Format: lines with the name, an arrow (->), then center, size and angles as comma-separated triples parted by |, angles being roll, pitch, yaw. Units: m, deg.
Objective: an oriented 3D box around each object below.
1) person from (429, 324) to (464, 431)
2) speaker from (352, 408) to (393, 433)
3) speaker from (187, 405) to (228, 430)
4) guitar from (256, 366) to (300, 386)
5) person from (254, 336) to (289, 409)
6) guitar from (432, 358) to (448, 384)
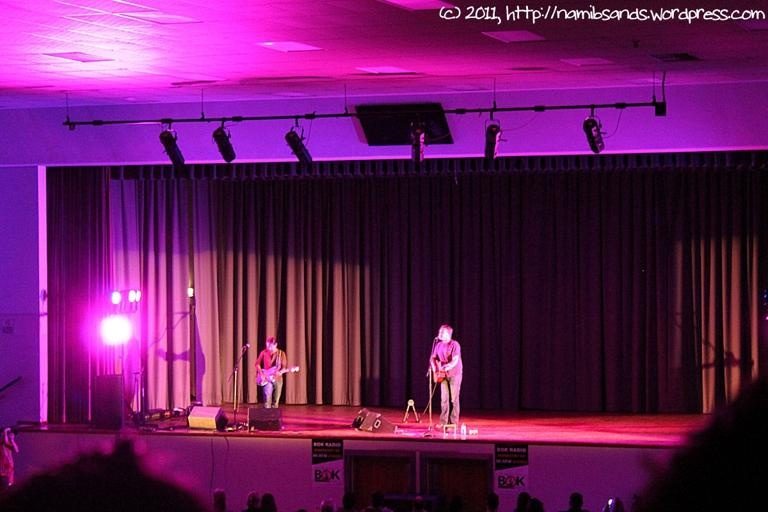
person -> 1.044, 1.987, 14.100 | 0.492, 1.675, 0.621 | -1, -5, -1
speaker -> -0.183, 2.744, 13.925 | 0.473, 0.156, 0.347 | 17, 22, 22
speaker -> -2.923, 2.683, 14.191 | 0.692, 0.396, 0.259 | -3, -5, 19
guitar -> -1.822, 2.100, 14.910 | 0.709, 0.296, 0.373 | -4, -6, 22
person -> -2.007, 2.376, 15.045 | 0.532, 1.909, 0.340 | 3, 17, -13
guitar -> 0.928, 1.868, 13.957 | 0.296, 0.344, 0.254 | -4, -6, 32
